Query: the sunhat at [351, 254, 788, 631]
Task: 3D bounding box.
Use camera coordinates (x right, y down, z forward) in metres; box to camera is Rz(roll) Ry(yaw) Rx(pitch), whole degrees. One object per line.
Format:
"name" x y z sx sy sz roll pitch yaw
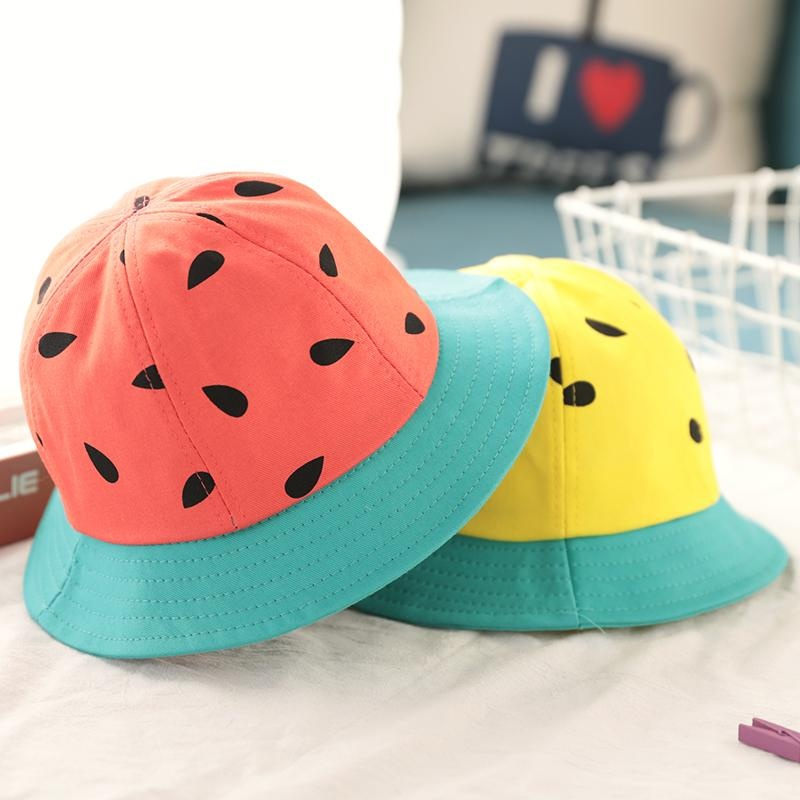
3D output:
"sunhat" 0.098 0.000 0.741 0.330 0.119 0.261 -9 21 -2
